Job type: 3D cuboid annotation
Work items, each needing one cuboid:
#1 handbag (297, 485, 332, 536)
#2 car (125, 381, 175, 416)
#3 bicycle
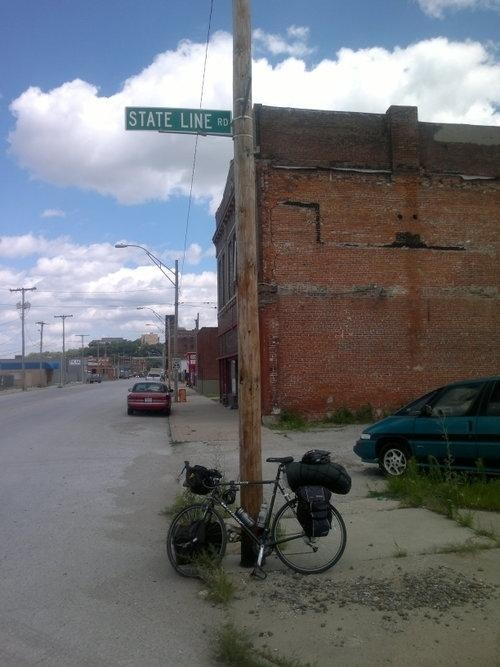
[{"bbox_3d":[0.522,1.423,5.277,0.361,0.457,0.266,4,-18,-15],"label":"handbag"},{"bbox_3d":[-3.817,2.479,24.685,1.573,1.211,1.207,-1,-1,1],"label":"car"},{"bbox_3d":[0.107,1.507,5.614,1.520,1.021,1.135,-2,-1,20],"label":"bicycle"}]
